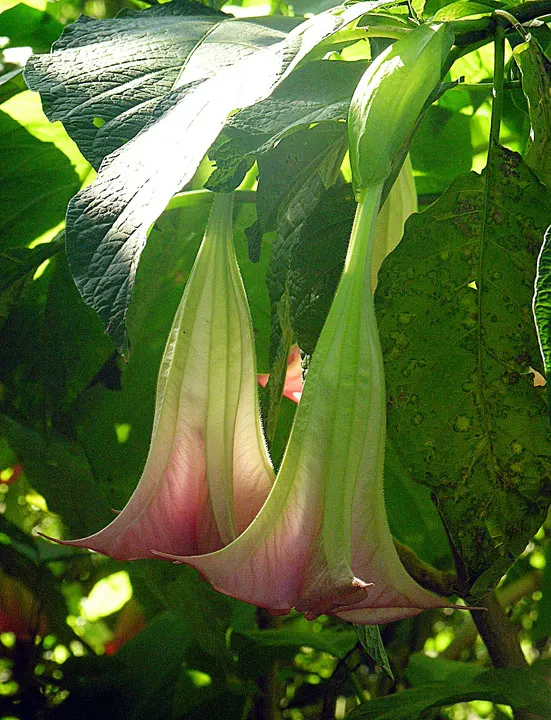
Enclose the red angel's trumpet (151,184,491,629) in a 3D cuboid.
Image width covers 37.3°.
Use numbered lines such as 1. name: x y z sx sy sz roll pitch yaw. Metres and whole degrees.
1. red angel's trumpet: 0.015 0.018 0.320 0.133 0.158 0.121 5 -5 29
